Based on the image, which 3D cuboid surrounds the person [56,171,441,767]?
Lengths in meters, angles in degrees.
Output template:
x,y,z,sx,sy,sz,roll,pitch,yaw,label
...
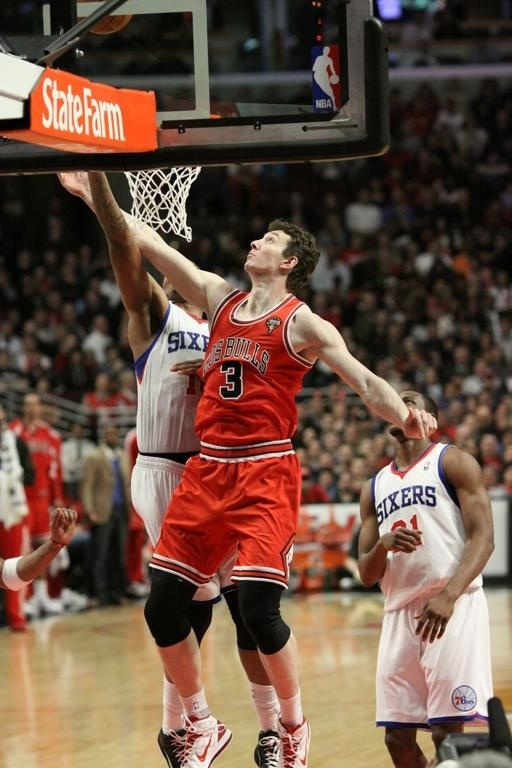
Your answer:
x,y,z,sx,sy,sz,roll,pitch,yaw,label
0.009,0.374,2.769,0.867,1.974,0.824,-3,7,-9,person
